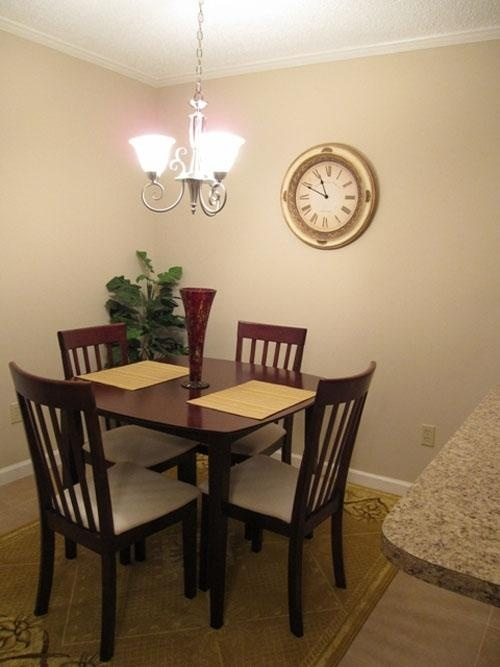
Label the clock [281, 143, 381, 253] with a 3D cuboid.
[{"bbox_3d":[0.459,-0.744,2.924,0.674,0.670,0.098,1,5,36],"label":"clock"}]

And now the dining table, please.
[{"bbox_3d":[-0.187,0.395,2.160,0.848,0.708,0.993,6,12,35],"label":"dining table"}]

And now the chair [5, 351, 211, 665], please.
[{"bbox_3d":[-0.480,0.522,1.830,0.424,0.898,0.540,8,11,35],"label":"chair"}]

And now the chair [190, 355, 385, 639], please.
[{"bbox_3d":[0.137,0.541,1.942,0.492,0.842,0.435,6,8,26],"label":"chair"}]
